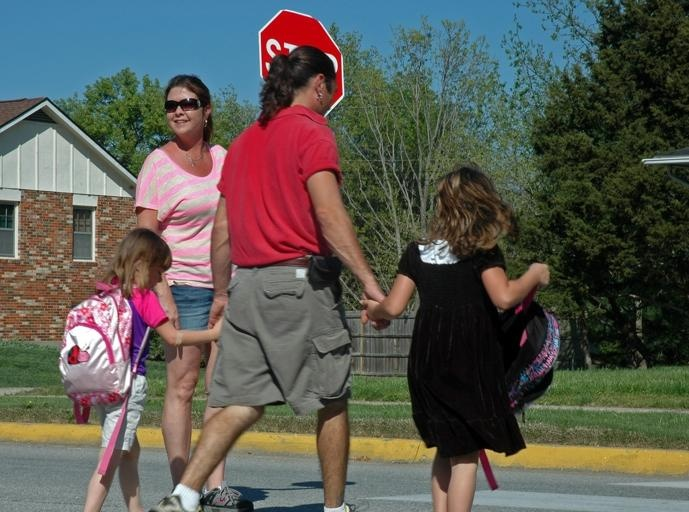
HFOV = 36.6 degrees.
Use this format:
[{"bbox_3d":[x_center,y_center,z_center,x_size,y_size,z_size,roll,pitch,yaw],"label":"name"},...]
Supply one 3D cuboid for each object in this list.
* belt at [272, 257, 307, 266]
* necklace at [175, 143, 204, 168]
[{"bbox_3d":[-0.465,0.052,9.028,0.300,0.084,0.035,-2,-1,-3],"label":"belt"},{"bbox_3d":[-1.492,-0.980,10.147,0.142,0.219,0.108,-10,2,1],"label":"necklace"}]
